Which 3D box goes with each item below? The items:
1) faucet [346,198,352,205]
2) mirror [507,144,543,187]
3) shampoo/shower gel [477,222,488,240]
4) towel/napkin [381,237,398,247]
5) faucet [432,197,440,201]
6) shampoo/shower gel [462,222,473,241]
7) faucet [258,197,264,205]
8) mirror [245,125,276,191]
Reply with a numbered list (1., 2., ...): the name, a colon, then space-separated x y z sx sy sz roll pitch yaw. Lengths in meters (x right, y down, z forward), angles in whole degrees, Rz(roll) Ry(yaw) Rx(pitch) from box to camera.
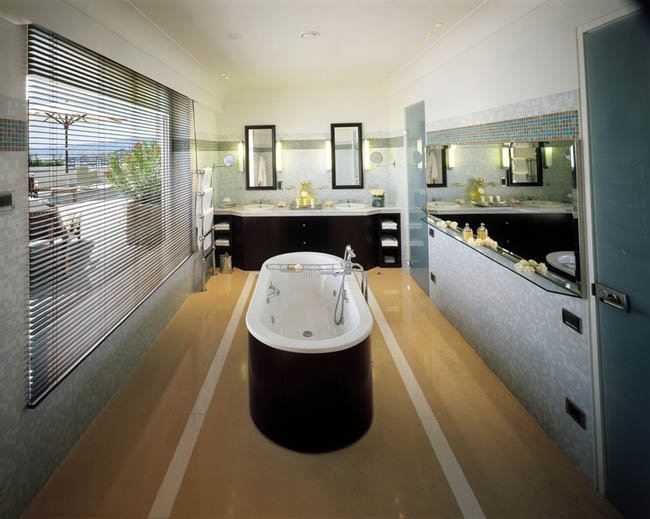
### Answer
1. faucet: 0.418 -1.018 7.478 0.061 0.117 0.107 4 21 17
2. mirror: 1.515 -0.724 3.275 0.257 0.311 0.065 0 0 5
3. shampoo/shower gel: 1.509 -0.262 4.088 0.097 0.210 0.108 -1 5 -10
4. towel/napkin: 1.060 -0.288 7.033 0.269 0.130 0.251 1 12 8
5. faucet: 1.337 -0.732 5.134 0.045 0.040 0.087 1 12 7
6. shampoo/shower gel: 1.461 -0.280 4.360 0.113 0.245 0.127 -3 9 -2
7. faucet: -1.127 -1.032 7.587 0.088 0.195 0.092 -7 17 -28
8. mirror: -1.126 -1.753 7.454 0.550 1.276 0.051 -2 -8 -7
